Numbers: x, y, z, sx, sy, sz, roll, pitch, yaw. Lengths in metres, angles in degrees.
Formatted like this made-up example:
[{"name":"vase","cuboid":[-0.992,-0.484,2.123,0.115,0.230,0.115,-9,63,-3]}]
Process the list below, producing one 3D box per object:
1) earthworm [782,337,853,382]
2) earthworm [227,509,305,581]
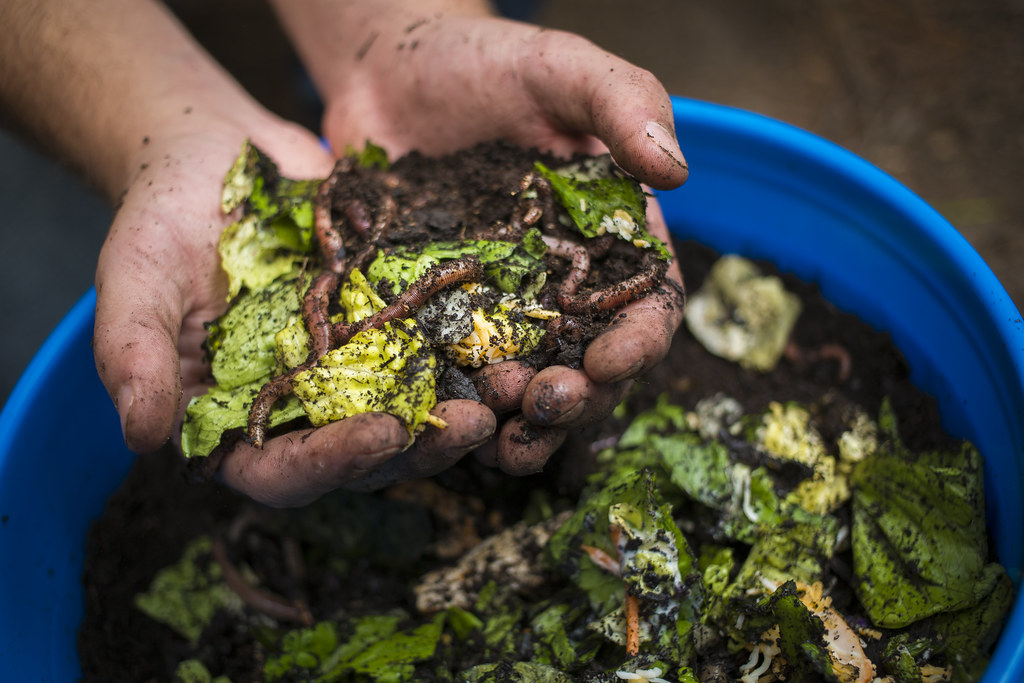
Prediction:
[{"name":"earthworm","cuboid":[2.019,0.097,7.551,0.346,0.086,0.210,24,98,26]},{"name":"earthworm","cuboid":[-1.554,1.270,7.302,0.418,0.411,0.110,48,120,12]}]
